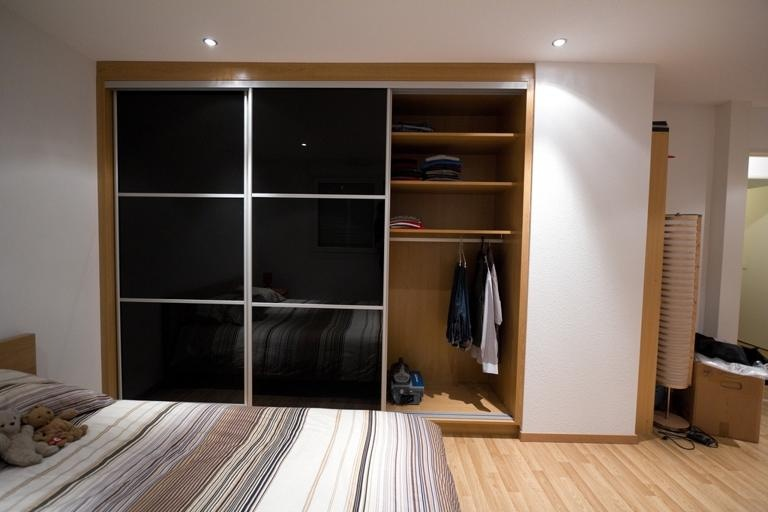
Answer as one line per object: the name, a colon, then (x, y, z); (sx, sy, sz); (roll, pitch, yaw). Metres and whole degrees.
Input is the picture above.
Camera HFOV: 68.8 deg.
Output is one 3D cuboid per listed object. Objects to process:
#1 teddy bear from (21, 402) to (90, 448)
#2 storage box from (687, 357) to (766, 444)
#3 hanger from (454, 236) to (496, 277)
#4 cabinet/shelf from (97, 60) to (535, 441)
teddy bear: (-2.213, 1.128, 3.751); (0.396, 0.164, 0.341); (11, 18, 16)
storage box: (3.018, 1.300, 5.119); (0.598, 0.799, 0.839); (4, 1, 25)
hanger: (0.845, 0.005, 5.213); (0.393, 0.323, 0.032); (0, -2, 1)
cabinet/shelf: (-0.675, -0.080, 4.762); (3.312, 2.662, 0.962); (0, -2, -2)
